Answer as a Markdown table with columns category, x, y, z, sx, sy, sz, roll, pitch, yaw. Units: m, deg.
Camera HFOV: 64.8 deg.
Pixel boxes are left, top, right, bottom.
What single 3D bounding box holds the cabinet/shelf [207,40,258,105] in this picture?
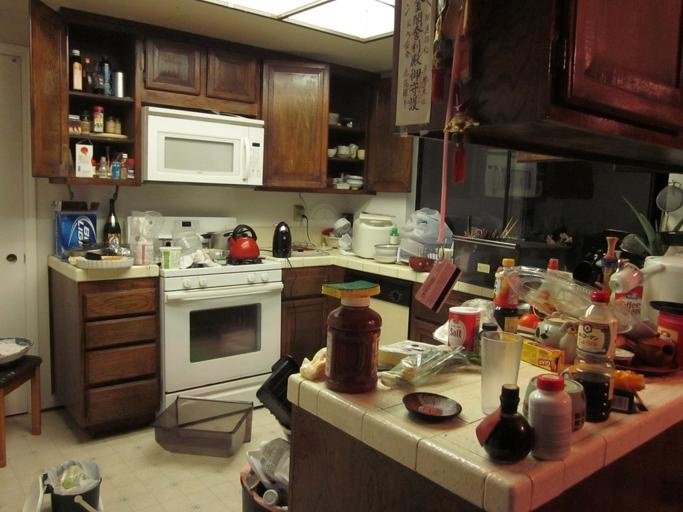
| category | x | y | z | sx | sy | sz | roll | pitch | yaw |
| --- | --- | --- | --- | --- | --- | --- | --- | --- | --- |
| cabinet/shelf | -0.705 | -1.236 | 3.691 | 0.402 | 0.322 | 0.215 | 14 | 24 | 17 |

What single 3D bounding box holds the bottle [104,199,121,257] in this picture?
| category | x | y | z | sx | sy | sz | roll | pitch | yaw |
| --- | --- | --- | --- | --- | --- | --- | --- | --- | --- |
| bottle | -1.449 | -0.201 | 3.353 | 0.113 | 0.296 | 0.551 | -3 | 11 | -23 |

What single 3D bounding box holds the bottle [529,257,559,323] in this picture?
| category | x | y | z | sx | sy | sz | roll | pitch | yaw |
| --- | --- | --- | --- | --- | --- | --- | --- | --- | --- |
| bottle | 0.746 | 0.135 | 1.959 | 0.075 | 0.230 | 0.333 | 6 | 11 | 20 |

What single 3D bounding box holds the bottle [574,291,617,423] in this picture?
| category | x | y | z | sx | sy | sz | roll | pitch | yaw |
| --- | --- | --- | --- | --- | --- | --- | --- | --- | --- |
| bottle | 0.685 | 0.251 | 1.432 | 0.099 | 0.291 | 0.275 | 7 | 11 | 24 |

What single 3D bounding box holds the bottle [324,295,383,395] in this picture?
| category | x | y | z | sx | sy | sz | roll | pitch | yaw |
| --- | --- | --- | --- | --- | --- | --- | --- | --- | --- |
| bottle | 0.031 | 0.236 | 1.459 | 0.146 | 0.258 | 0.089 | 2 | 10 | -2 |

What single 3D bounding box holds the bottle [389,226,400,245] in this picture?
| category | x | y | z | sx | sy | sz | roll | pitch | yaw |
| --- | --- | --- | --- | --- | --- | --- | --- | --- | --- |
| bottle | 0.387 | -0.148 | 3.926 | 0.071 | 0.120 | 0.186 | 3 | 10 | 6 |

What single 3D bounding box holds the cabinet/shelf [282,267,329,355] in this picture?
| category | x | y | z | sx | sy | sz | roll | pitch | yaw |
| --- | --- | --- | --- | --- | --- | --- | --- | --- | --- |
| cabinet/shelf | -0.272 | 0.401 | 3.851 | 0.361 | 0.641 | 0.097 | -8 | 14 | -43 |

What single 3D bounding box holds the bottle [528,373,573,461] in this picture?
| category | x | y | z | sx | sy | sz | roll | pitch | yaw |
| --- | --- | --- | --- | --- | --- | --- | --- | --- | --- |
| bottle | 0.466 | 0.362 | 1.199 | 0.078 | 0.175 | 0.070 | -3 | 11 | -24 |

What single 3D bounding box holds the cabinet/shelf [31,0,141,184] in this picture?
| category | x | y | z | sx | sy | sz | roll | pitch | yaw |
| --- | --- | --- | --- | --- | --- | --- | --- | --- | --- |
| cabinet/shelf | -1.574 | -0.925 | 3.199 | 0.670 | 0.983 | 0.574 | -8 | 15 | -44 |

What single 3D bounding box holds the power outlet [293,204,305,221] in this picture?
| category | x | y | z | sx | sy | sz | roll | pitch | yaw |
| --- | --- | --- | --- | --- | --- | --- | --- | --- | --- |
| power outlet | -0.379 | -0.364 | 4.499 | 0.117 | 0.117 | 0.028 | -3 | 6 | -31 |

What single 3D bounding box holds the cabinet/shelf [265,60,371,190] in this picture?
| category | x | y | z | sx | sy | sz | roll | pitch | yaw |
| --- | --- | --- | --- | --- | --- | --- | --- | --- | --- |
| cabinet/shelf | -0.351 | -0.971 | 4.078 | 0.573 | 0.885 | 0.551 | -3 | 10 | -28 |

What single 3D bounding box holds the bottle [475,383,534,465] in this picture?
| category | x | y | z | sx | sy | sz | roll | pitch | yaw |
| --- | --- | --- | --- | --- | --- | --- | --- | --- | --- |
| bottle | 0.360 | 0.368 | 1.184 | 0.113 | 0.166 | 0.061 | 5 | 11 | 17 |

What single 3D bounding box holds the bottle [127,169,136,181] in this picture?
| category | x | y | z | sx | sy | sz | roll | pitch | yaw |
| --- | --- | --- | --- | --- | --- | --- | --- | --- | --- |
| bottle | -1.328 | -0.509 | 3.348 | 0.043 | 0.074 | 0.080 | 0 | 1 | 43 |

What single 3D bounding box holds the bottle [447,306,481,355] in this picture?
| category | x | y | z | sx | sy | sz | roll | pitch | yaw |
| --- | --- | --- | --- | --- | --- | --- | --- | --- | --- |
| bottle | 0.391 | 0.234 | 1.722 | 0.127 | 0.136 | 0.125 | 2 | 6 | 1 |

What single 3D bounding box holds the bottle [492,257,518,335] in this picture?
| category | x | y | z | sx | sy | sz | roll | pitch | yaw |
| --- | --- | --- | --- | --- | --- | --- | --- | --- | --- |
| bottle | 0.577 | 0.131 | 1.846 | 0.090 | 0.244 | 0.201 | 5 | 11 | 17 |

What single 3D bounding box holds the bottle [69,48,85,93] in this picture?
| category | x | y | z | sx | sy | sz | roll | pitch | yaw |
| --- | --- | --- | --- | --- | --- | --- | --- | --- | --- |
| bottle | -1.602 | -1.099 | 3.210 | 0.077 | 0.232 | 0.173 | -3 | 12 | -26 |
